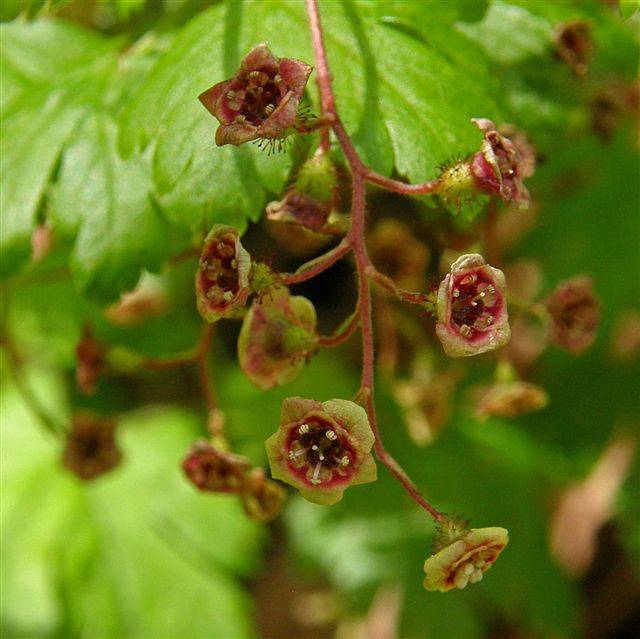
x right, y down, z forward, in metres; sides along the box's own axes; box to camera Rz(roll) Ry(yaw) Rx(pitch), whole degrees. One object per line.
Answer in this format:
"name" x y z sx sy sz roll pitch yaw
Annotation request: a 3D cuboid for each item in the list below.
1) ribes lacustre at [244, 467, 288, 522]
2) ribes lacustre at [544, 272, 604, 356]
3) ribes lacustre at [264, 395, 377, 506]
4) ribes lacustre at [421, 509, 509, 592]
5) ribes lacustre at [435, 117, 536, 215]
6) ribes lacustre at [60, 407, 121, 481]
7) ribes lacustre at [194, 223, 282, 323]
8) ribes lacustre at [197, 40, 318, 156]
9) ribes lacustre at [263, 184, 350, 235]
"ribes lacustre" -0.146 0.435 2.299 0.129 0.110 0.064 -12 103 9
"ribes lacustre" 0.677 -0.023 2.321 0.047 0.155 0.201 18 89 54
"ribes lacustre" 0.001 0.258 1.699 0.216 0.135 0.179 0 67 4
"ribes lacustre" 0.297 0.486 1.803 0.149 0.207 0.151 -41 75 -4
"ribes lacustre" 0.337 -0.323 1.768 0.188 0.147 0.222 6 68 6
"ribes lacustre" -0.622 0.342 2.281 0.185 0.047 0.186 -28 53 42
"ribes lacustre" -0.186 -0.090 1.695 0.162 0.121 0.148 -38 70 -11
"ribes lacustre" -0.118 -0.433 1.698 0.220 0.096 0.171 -21 67 -5
"ribes lacustre" -0.016 -0.235 1.776 0.193 0.138 0.073 14 117 18
